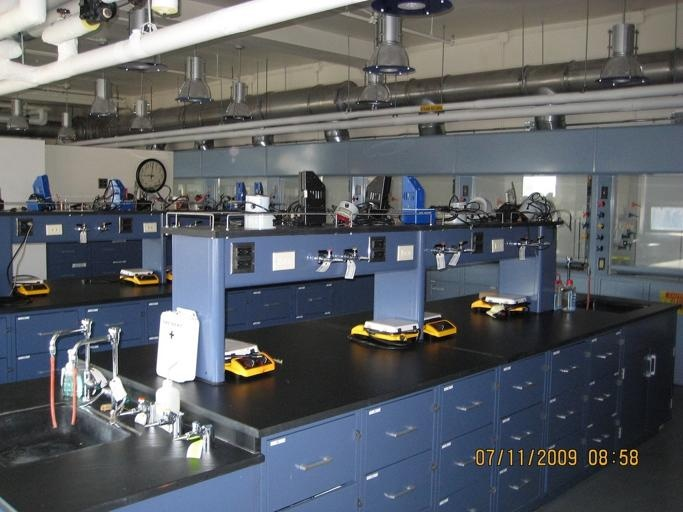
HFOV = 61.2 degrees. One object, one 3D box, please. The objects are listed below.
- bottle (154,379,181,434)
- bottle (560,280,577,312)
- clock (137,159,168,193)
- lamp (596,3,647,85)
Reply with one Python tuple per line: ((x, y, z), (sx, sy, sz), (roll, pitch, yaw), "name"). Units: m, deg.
((-0.759, 0.671, 2.537), (0.110, 0.191, 0.166), (-4, 15, -19), "bottle")
((1.739, 0.308, 4.450), (0.125, 0.193, 0.239), (7, 16, 22), "bottle")
((-3.160, -1.340, 9.647), (0.075, 0.637, 0.615), (5, 8, 36), "clock")
((2.268, -1.625, 4.645), (0.367, 0.490, 1.413), (8, 16, 25), "lamp")
